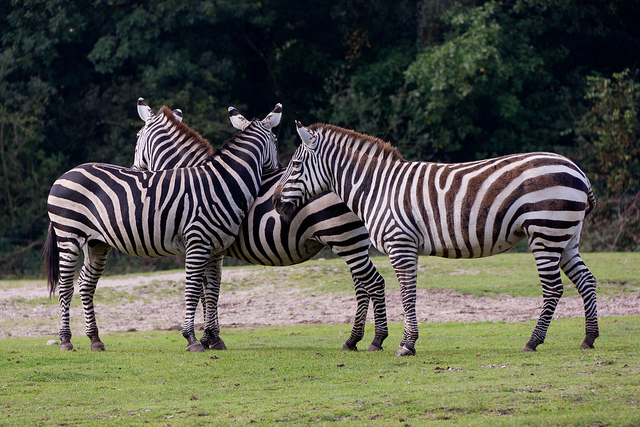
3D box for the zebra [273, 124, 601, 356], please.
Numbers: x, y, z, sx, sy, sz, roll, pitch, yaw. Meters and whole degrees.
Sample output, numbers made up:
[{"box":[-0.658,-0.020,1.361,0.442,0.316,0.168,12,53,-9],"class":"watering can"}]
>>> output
[{"box":[2.789,0.669,30.264,7.972,5.886,2.300,0,5,7],"class":"zebra"}]
